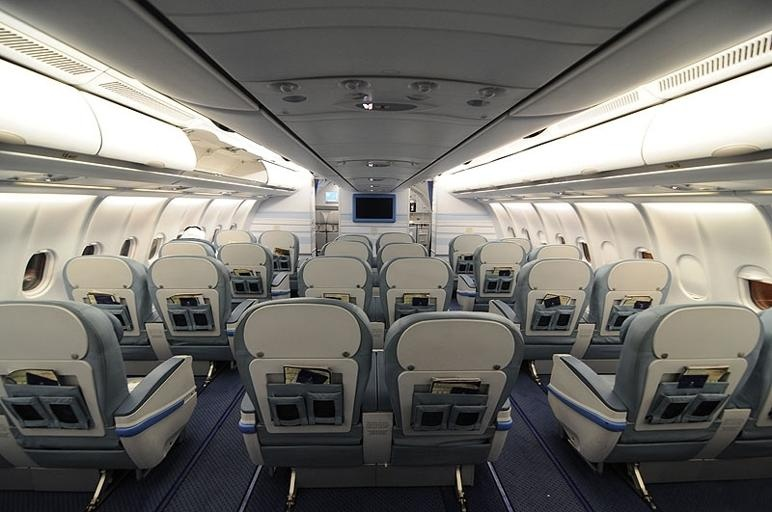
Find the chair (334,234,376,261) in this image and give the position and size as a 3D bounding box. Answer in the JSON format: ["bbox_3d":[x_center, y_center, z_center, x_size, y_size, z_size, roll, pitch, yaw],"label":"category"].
[{"bbox_3d":[-0.584,-0.171,8.044,0.822,0.682,0.420,1,13,5],"label":"chair"}]

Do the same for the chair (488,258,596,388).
[{"bbox_3d":[1.681,0.714,6.432,1.563,1.934,1.752,1,4,5],"label":"chair"}]

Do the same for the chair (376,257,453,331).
[{"bbox_3d":[0.386,0.468,6.163,1.024,1.189,1.041,3,15,7],"label":"chair"}]

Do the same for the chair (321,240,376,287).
[{"bbox_3d":[-0.488,0.073,7.763,0.845,1.024,0.879,-1,13,1],"label":"chair"}]

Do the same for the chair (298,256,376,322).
[{"bbox_3d":[-0.627,0.360,5.538,0.746,0.915,0.796,0,15,1],"label":"chair"}]

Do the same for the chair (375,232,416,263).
[{"bbox_3d":[0.186,-0.256,9.384,0.823,0.723,0.678,1,8,2],"label":"chair"}]

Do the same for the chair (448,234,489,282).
[{"bbox_3d":[1.562,-0.037,9.672,0.847,0.928,0.836,2,6,-22],"label":"chair"}]

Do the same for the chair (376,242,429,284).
[{"bbox_3d":[0.217,0.139,7.295,0.750,0.820,0.740,1,9,-1],"label":"chair"}]
